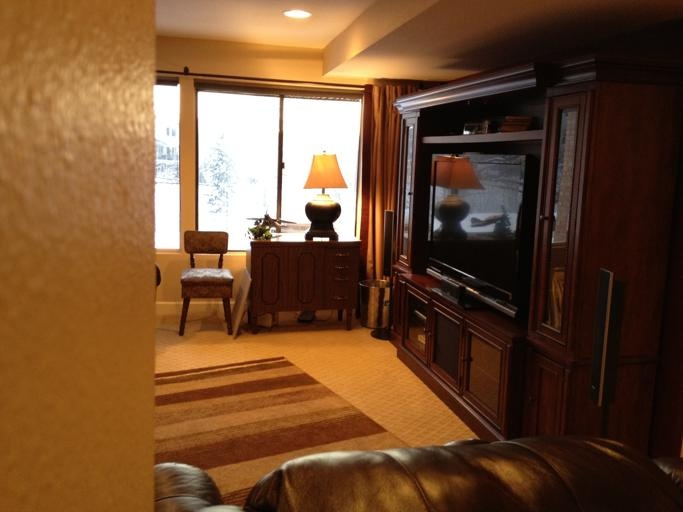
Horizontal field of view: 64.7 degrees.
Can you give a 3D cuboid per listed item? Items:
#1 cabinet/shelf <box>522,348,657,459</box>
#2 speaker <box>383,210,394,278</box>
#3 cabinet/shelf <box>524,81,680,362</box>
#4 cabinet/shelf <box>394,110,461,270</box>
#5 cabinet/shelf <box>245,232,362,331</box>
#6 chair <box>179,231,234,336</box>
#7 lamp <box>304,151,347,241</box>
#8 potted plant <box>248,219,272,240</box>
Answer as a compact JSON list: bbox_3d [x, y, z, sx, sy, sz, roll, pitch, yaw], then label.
[{"bbox_3d":[1.209,0.638,2.553,0.420,0.606,0.434,13,1,21],"label":"cabinet/shelf"},{"bbox_3d":[0.397,-0.098,4.592,0.084,0.575,0.259,3,8,4],"label":"speaker"},{"bbox_3d":[1.145,-0.134,2.350,0.560,1.179,0.275,5,9,20],"label":"cabinet/shelf"},{"bbox_3d":[0.634,-0.420,4.342,0.325,1.035,0.317,18,3,6],"label":"cabinet/shelf"},{"bbox_3d":[-0.318,0.177,4.950,0.967,0.787,0.549,-1,16,-7],"label":"cabinet/shelf"},{"bbox_3d":[-1.215,0.215,4.815,0.462,0.840,0.769,0,8,-13],"label":"chair"},{"bbox_3d":[-0.155,-0.550,4.890,0.369,0.776,0.569,2,8,-2],"label":"lamp"},{"bbox_3d":[-0.714,-0.226,4.728,0.163,0.128,0.212,1,0,-3],"label":"potted plant"}]
